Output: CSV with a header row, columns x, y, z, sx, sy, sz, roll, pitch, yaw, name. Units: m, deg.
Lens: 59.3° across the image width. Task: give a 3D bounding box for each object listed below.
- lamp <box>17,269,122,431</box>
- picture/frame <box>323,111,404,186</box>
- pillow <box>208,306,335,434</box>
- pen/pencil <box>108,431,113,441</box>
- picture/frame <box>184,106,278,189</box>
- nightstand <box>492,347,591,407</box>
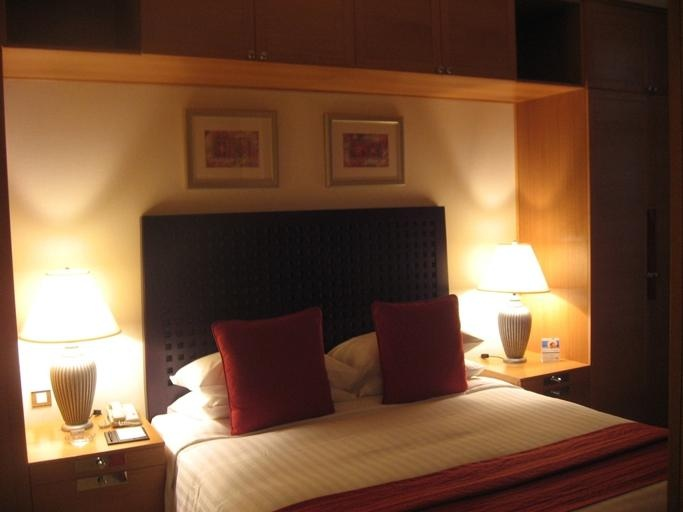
x,y,z,sx,sy,sz,roll,pitch,yaw,name
-1.439,0.498,3.249,0.476,0.831,0.376,-3,9,-18,lamp
0.130,-0.727,4.046,0.467,0.395,0.039,-1,0,-26,picture/frame
-0.350,0.628,3.236,0.586,0.610,0.182,-6,-9,-29,pillow
-1.187,0.926,3.095,0.013,0.010,0.095,-22,16,-19,pen/pencil
-0.698,-0.672,3.692,0.472,0.450,0.037,-1,1,-22,picture/frame
1.380,0.752,4.142,0.378,0.422,0.395,-4,5,-30,nightstand
